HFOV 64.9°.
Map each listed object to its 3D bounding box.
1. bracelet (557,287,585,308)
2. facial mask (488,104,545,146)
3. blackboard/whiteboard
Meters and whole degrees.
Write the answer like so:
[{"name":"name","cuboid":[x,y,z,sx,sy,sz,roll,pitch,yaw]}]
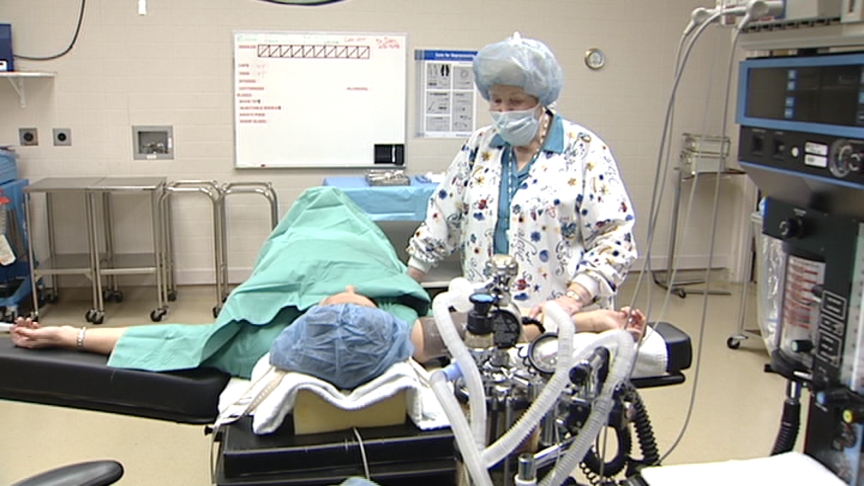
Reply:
[{"name":"bracelet","cuboid":[0.573,0.226,2.788,0.073,0.039,0.093,25,13,24]},{"name":"facial mask","cuboid":[0.389,-0.525,3.097,0.175,0.135,0.187,11,38,44]},{"name":"blackboard/whiteboard","cuboid":[-0.987,-1.245,5.742,1.278,0.885,0.053,0,6,-7]}]
